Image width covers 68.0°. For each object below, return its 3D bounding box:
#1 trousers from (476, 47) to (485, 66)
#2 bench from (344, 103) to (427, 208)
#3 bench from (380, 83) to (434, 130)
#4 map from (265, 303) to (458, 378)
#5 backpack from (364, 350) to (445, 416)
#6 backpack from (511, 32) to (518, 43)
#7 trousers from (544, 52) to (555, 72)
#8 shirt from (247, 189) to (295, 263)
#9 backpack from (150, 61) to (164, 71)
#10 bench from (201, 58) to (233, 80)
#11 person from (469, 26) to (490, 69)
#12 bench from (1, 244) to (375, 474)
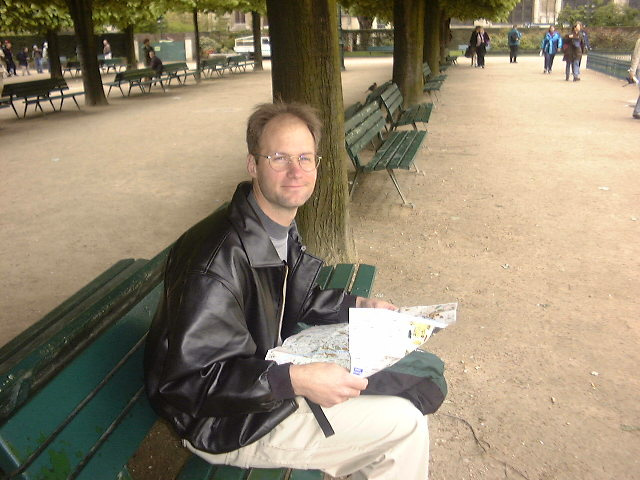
[{"bbox_3d":[10.377,-11.810,30.462,0.429,1.109,0.781,-10,23,-18],"label":"trousers"},{"bbox_3d":[1.105,-1.385,7.993,0.902,1.073,2.626,2,30,9],"label":"bench"},{"bbox_3d":[1.980,-3.076,10.646,1.049,0.908,1.966,1,-4,5],"label":"bench"},{"bbox_3d":[0.189,0.449,2.174,0.412,0.147,0.582,3,13,22],"label":"map"},{"bbox_3d":[0.400,0.662,2.284,0.373,0.139,0.398,4,12,17],"label":"backpack"},{"bbox_3d":[13.139,-13.628,31.799,0.312,0.462,0.421,-1,7,-6],"label":"backpack"},{"bbox_3d":[12.151,-9.488,25.172,0.470,0.866,0.428,-19,28,-36],"label":"trousers"},{"bbox_3d":[-0.228,-0.081,2.485,0.244,0.336,0.251,-13,0,10],"label":"shirt"},{"bbox_3d":[-7.983,-8.545,23.285,0.489,0.377,0.616,-9,24,-18],"label":"backpack"},{"bbox_3d":[-6.554,-10.953,30.096,1.685,1.111,4.521,-5,23,-9],"label":"bench"},{"bbox_3d":[10.407,-12.731,31.032,1.207,2.752,0.812,3,5,17],"label":"person"},{"bbox_3d":[-0.536,0.566,2.163,0.807,0.427,1.324,6,28,6],"label":"bench"}]
